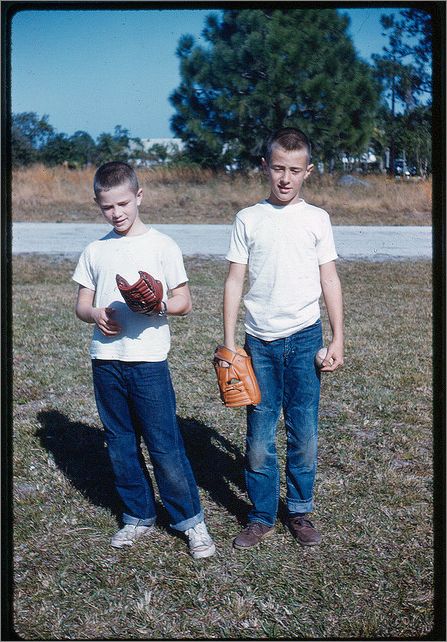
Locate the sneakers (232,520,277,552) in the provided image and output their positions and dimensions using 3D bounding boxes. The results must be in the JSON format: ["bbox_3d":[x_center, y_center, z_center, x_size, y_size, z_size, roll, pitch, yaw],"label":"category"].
[{"bbox_3d":[0.127,0.890,3.159,0.075,0.075,0.189,30,25,33],"label":"sneakers"}]

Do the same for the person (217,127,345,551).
[{"bbox_3d":[0.229,0.200,3.056,0.533,1.503,0.267,-4,12,-2],"label":"person"}]

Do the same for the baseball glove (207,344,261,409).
[{"bbox_3d":[0.051,0.226,3.030,0.176,0.242,0.126,-12,3,37],"label":"baseball glove"}]

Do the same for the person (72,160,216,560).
[{"bbox_3d":[-0.329,0.181,2.980,0.447,1.594,0.403,-6,13,-11],"label":"person"}]

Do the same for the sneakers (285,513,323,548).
[{"bbox_3d":[0.334,0.883,3.195,0.078,0.074,0.166,-10,22,-29],"label":"sneakers"}]

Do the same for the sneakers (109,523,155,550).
[{"bbox_3d":[-0.379,0.896,3.172,0.180,0.068,0.066,-16,18,-38],"label":"sneakers"}]

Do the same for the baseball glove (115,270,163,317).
[{"bbox_3d":[-0.306,-0.124,2.696,0.156,0.146,0.247,-3,-22,-14],"label":"baseball glove"}]
